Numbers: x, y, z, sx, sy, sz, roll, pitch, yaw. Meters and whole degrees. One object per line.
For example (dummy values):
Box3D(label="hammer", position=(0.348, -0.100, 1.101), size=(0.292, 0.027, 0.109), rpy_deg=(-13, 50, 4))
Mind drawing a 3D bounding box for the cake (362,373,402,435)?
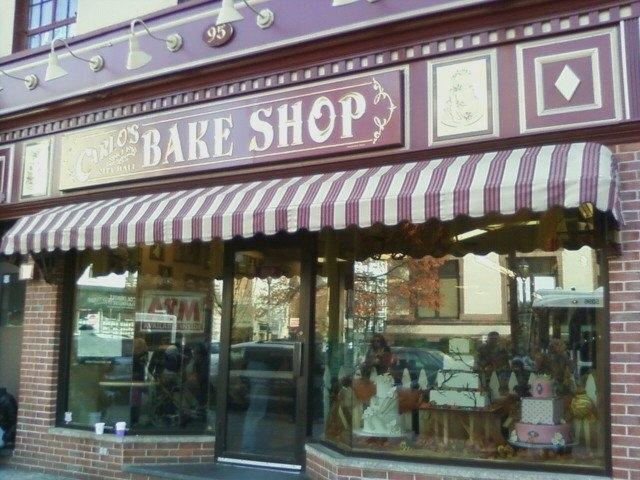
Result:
Box3D(label="cake", position=(0.839, 2.228, 9.903), size=(0.686, 0.764, 0.702), rpy_deg=(0, -2, -3))

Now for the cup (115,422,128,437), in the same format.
Box3D(label="cup", position=(-2.981, 2.854, 11.009), size=(0.138, 0.219, 0.208), rpy_deg=(-13, -22, 40))

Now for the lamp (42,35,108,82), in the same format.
Box3D(label="lamp", position=(-3.892, -2.804, 11.362), size=(0.390, 0.544, 0.988), rpy_deg=(24, 29, 31))

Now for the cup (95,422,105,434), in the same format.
Box3D(label="cup", position=(-3.363, 2.860, 11.083), size=(0.159, 0.175, 0.159), rpy_deg=(-3, -14, -1))

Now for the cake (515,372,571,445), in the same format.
Box3D(label="cake", position=(2.807, 2.130, 9.254), size=(0.772, 0.816, 0.777), rpy_deg=(-3, -7, 28))
